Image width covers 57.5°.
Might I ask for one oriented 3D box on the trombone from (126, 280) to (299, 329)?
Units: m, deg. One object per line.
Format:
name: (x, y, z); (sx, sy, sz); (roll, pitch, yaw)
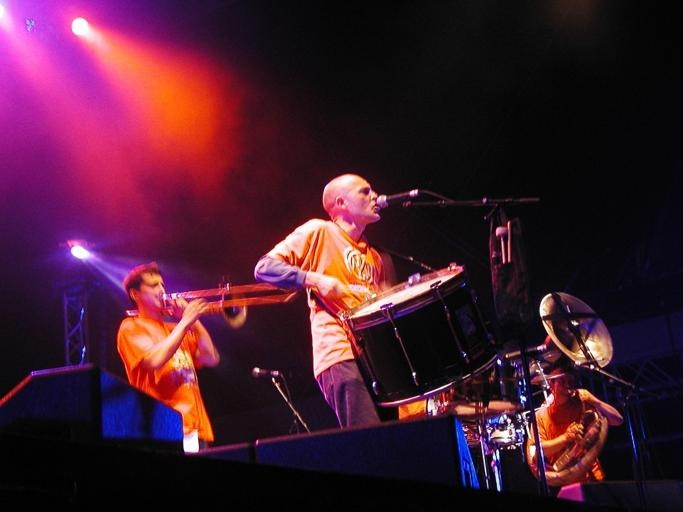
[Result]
trombone: (-1.335, 0.452, 7.113); (1.420, 0.555, 0.485); (-5, -10, -45)

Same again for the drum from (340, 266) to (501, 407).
drum: (0.682, 0.502, 4.693); (0.979, 0.706, 0.998); (-25, -8, -4)

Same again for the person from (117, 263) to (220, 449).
person: (-1.693, 0.905, 6.153); (1.015, 2.281, 0.884); (0, 2, -45)
